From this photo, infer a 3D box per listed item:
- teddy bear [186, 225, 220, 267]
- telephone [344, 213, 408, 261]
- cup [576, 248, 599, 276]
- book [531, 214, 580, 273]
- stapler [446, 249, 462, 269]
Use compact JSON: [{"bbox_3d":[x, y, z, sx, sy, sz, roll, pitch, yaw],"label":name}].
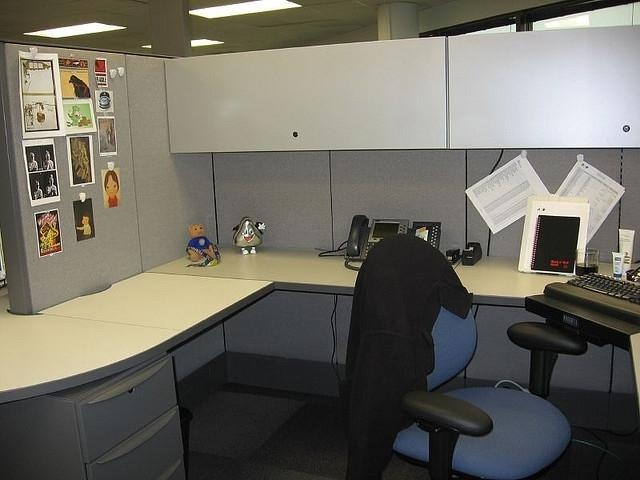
[{"bbox_3d":[-0.701,0.017,2.942,0.174,0.249,0.170,-7,-3,-6],"label":"teddy bear"},{"bbox_3d":[0.291,-0.033,2.746,0.349,0.254,0.235,1,11,16],"label":"telephone"},{"bbox_3d":[1.258,0.098,2.359,0.080,0.137,0.131,-1,-5,-8],"label":"cup"},{"bbox_3d":[1.170,0.021,2.477,0.201,0.293,0.064,7,-5,23],"label":"book"},{"bbox_3d":[0.714,0.092,2.663,0.052,0.091,0.172,-1,5,21],"label":"stapler"}]
